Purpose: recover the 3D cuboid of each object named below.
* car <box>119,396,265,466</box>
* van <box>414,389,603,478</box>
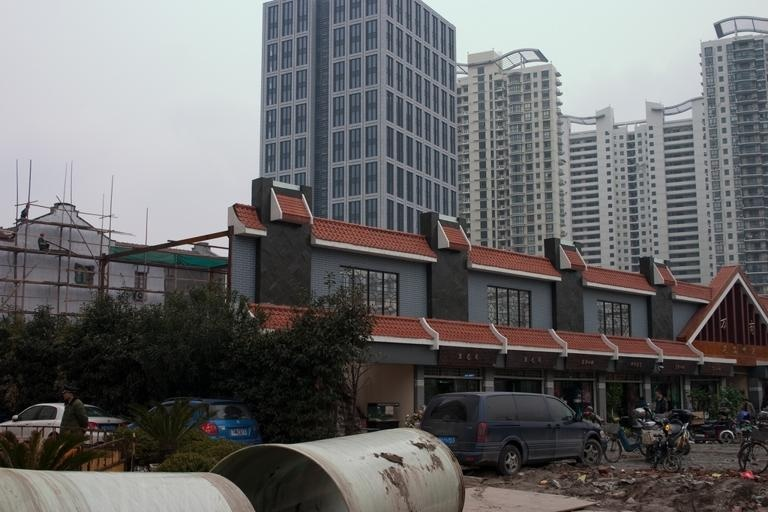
[{"bbox_3d":[-7.819,7.636,50.264,7.005,2.511,3.005,-5,-8,43],"label":"car"},{"bbox_3d":[5.947,7.945,51.540,7.610,3.649,1.536,0,0,-12],"label":"van"}]
